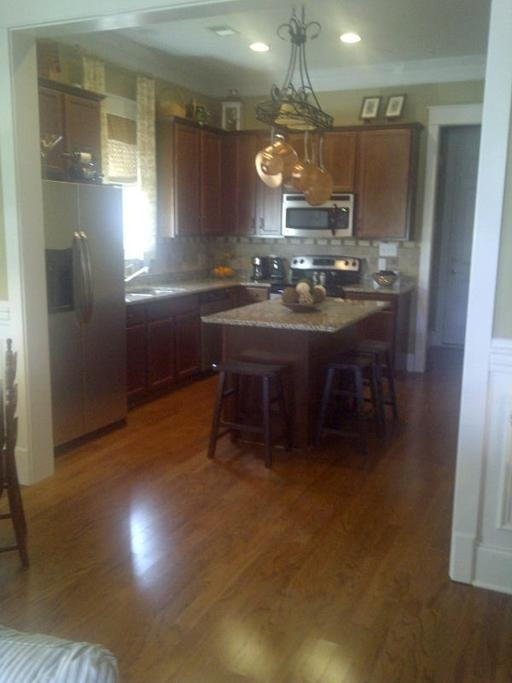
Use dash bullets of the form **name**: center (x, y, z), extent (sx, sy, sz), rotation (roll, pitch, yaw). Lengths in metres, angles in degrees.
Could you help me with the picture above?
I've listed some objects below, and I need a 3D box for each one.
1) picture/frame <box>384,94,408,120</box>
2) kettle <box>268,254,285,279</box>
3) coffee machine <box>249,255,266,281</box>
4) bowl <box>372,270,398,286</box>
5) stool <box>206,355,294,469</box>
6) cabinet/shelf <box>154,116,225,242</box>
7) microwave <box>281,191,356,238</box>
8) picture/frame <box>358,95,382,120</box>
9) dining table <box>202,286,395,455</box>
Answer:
- **picture/frame**: center (1.316, -2.209, 5.094), extent (0.202, 0.300, 0.039), rotation (15, -2, 24)
- **kettle**: center (0.221, -0.797, 5.881), extent (0.191, 0.228, 0.114), rotation (1, 8, 3)
- **coffee machine**: center (0.032, -0.789, 5.844), extent (0.226, 0.389, 0.206), rotation (1, 3, 2)
- **bowl**: center (1.253, -0.614, 5.277), extent (0.250, 0.154, 0.207), rotation (-7, 11, -38)
- **stool**: center (-0.053, 0.396, 3.482), extent (0.544, 0.888, 0.546), rotation (-5, 13, -24)
- **cabinet/shelf**: center (-0.671, -1.587, 5.239), extent (0.339, 1.190, 1.137), rotation (3, 12, 14)
- **microwave**: center (0.594, -1.247, 5.441), extent (0.711, 0.521, 0.456), rotation (6, 13, 27)
- **picture/frame**: center (1.094, -2.245, 5.200), extent (0.224, 0.320, 0.031), rotation (13, -1, 23)
- **dining table**: center (0.246, -0.215, 3.462), extent (0.811, 0.812, 1.523), rotation (5, 16, 21)
